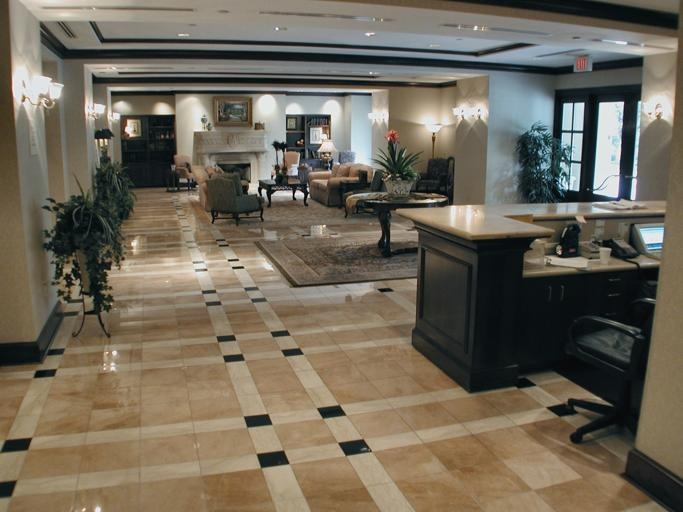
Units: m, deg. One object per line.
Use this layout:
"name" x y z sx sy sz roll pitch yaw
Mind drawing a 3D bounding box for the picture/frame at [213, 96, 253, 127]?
"picture/frame" -4.070 -5.399 17.536 1.328 0.961 0.094 -2 6 -19

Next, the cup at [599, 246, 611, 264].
"cup" 2.422 -0.013 4.392 0.090 0.142 0.125 5 14 24

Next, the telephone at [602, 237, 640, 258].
"telephone" 2.674 -0.068 4.604 0.219 0.084 0.267 2 26 -1

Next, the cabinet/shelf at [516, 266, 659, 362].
"cabinet/shelf" 2.125 0.502 4.520 1.598 0.840 0.469 -4 9 -20

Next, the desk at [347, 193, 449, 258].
"desk" 0.953 -0.544 8.364 1.437 0.787 1.285 0 6 -29

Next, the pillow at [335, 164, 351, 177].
"pillow" 0.051 -2.407 13.351 0.146 0.278 0.406 18 6 -37

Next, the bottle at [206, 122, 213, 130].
"bottle" -4.791 -4.727 17.314 0.256 0.190 0.252 0 4 0

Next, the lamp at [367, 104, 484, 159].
"lamp" 2.059 -3.634 13.758 2.064 1.353 1.580 -4 12 -23

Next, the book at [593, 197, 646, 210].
"book" 2.918 -0.539 4.939 0.624 0.075 0.413 -1 12 -3

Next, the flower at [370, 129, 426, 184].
"flower" 0.910 -1.616 7.869 0.641 0.840 0.758 -28 26 -30

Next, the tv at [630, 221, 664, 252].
"tv" 2.961 -0.189 4.633 0.302 0.185 0.171 -6 16 -16
